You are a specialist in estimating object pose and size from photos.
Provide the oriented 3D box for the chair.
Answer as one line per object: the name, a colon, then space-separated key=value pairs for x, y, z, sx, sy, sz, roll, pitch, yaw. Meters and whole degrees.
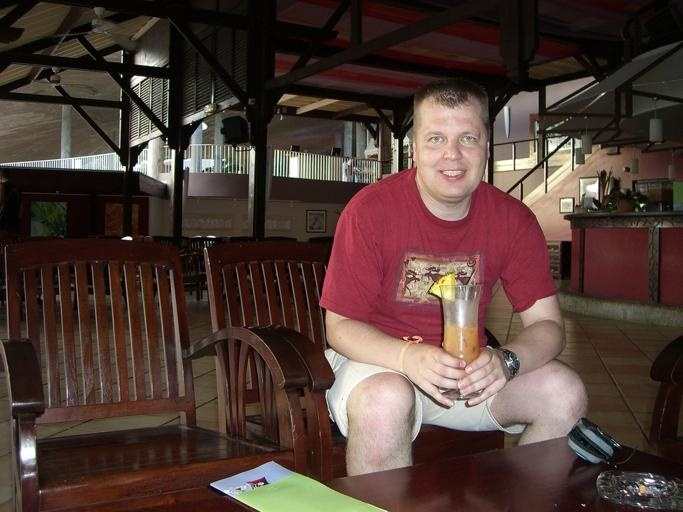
chair: x=-0.277 y=0.371 z=1.755 sx=1.101 sy=0.811 sz=0.677 roll=1 pitch=-4 yaw=-33

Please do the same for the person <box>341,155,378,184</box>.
person: x=0.568 y=-2.721 z=17.051 sx=0.946 sy=0.404 sz=1.209 roll=0 pitch=1 yaw=-17

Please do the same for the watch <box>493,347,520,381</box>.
watch: x=0.528 y=0.329 z=1.694 sx=0.056 sy=0.089 sz=0.101 roll=-18 pitch=25 yaw=-2

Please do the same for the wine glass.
wine glass: x=0.352 y=0.198 z=1.576 sx=0.103 sy=0.233 sz=0.101 roll=1 pitch=1 yaw=12

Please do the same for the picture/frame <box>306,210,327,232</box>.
picture/frame: x=-0.791 y=-1.034 z=15.921 sx=0.675 sy=0.635 sz=0.043 roll=-3 pitch=3 yaw=-30
